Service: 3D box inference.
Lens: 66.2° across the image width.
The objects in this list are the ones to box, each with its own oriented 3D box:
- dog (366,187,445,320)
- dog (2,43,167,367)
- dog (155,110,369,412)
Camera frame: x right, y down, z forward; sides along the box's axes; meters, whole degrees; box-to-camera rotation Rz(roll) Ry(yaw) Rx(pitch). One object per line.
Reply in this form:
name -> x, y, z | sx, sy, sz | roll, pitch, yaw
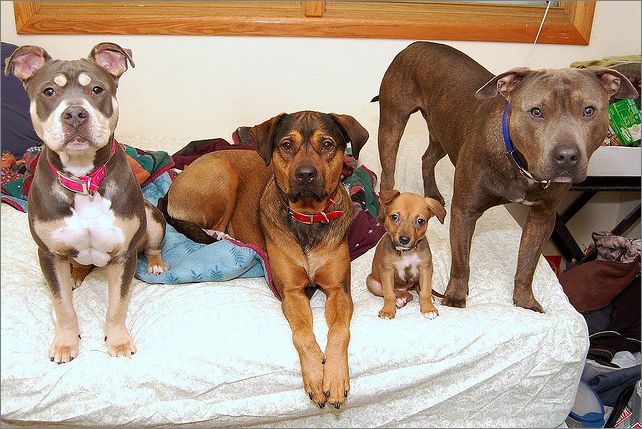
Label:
dog -> 0.512, 0.200, 3.077 | 0.432, 0.738, 0.766 | 1, 13, 1
dog -> -1.261, -0.088, 2.713 | 0.732, 1.666, 0.705 | -4, 18, -24
dog -> -0.362, -0.036, 3.051 | 1.061, 1.120, 1.998 | -1, 38, -12
